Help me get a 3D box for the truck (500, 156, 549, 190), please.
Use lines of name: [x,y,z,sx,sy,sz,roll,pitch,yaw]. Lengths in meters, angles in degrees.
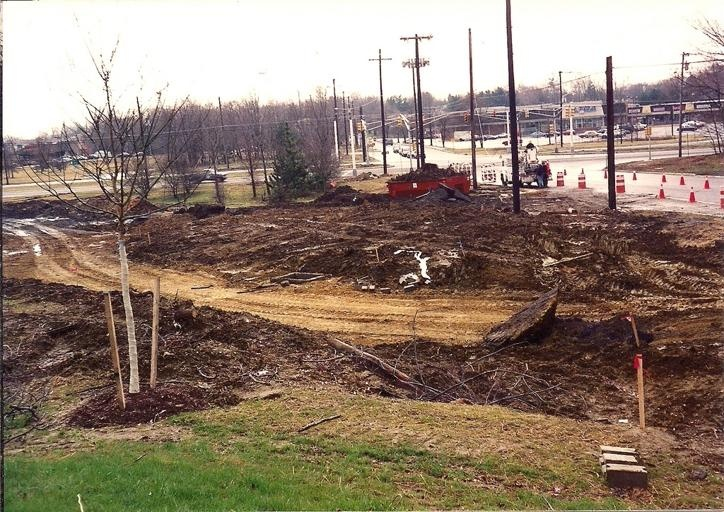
truck: [10.123,-5.168,45.553,1.919,1.491,2.708,-11,18,-32]
